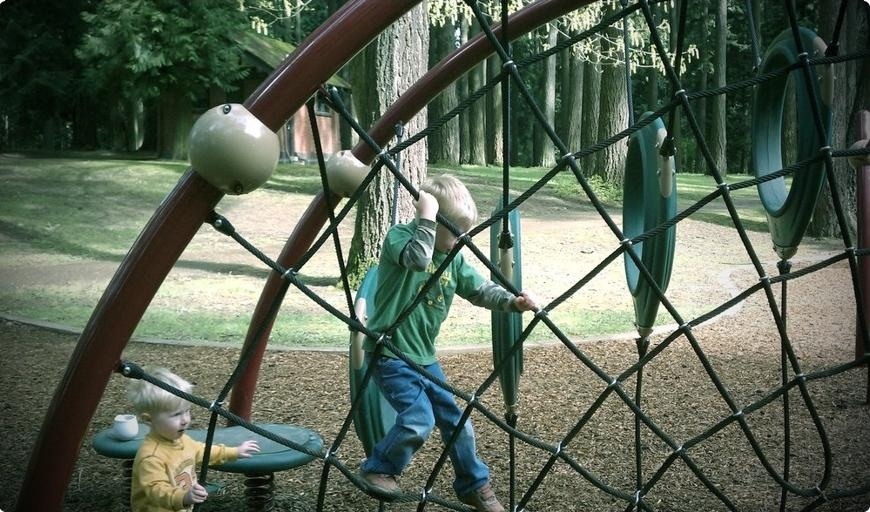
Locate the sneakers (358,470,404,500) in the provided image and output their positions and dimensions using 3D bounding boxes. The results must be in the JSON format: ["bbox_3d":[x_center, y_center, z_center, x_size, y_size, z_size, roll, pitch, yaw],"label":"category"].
[{"bbox_3d":[-0.467,2.062,8.620,0.411,0.170,0.205,12,-18,35],"label":"sneakers"}]

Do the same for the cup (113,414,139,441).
[{"bbox_3d":[-2.947,1.649,9.231,0.226,0.198,0.227,2,-6,0],"label":"cup"}]
